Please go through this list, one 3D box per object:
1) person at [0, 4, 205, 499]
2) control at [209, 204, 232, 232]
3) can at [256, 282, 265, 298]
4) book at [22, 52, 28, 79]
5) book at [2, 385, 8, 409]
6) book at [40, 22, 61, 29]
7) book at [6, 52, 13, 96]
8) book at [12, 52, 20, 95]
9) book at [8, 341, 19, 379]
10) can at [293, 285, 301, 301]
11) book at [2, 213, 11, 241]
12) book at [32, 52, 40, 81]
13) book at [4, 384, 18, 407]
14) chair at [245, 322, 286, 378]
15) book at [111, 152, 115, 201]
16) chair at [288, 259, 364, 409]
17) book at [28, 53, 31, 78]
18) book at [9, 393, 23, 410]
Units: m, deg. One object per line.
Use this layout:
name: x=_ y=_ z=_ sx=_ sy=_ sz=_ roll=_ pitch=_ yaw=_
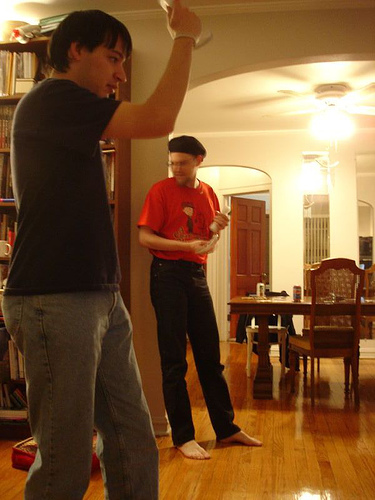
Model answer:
person: x=-0.164 y=0.002 z=0.819 sx=0.361 sy=1.112 sz=0.302 roll=3 pitch=-5 yaw=-35
control: x=0.184 y=-0.153 z=2.023 sx=0.115 sy=0.141 sz=0.038 roll=12 pitch=-3 yaw=39
can: x=0.711 y=0.389 z=4.013 sx=0.080 sy=0.154 sz=0.234 roll=0 pitch=-6 yaw=12
book: x=-0.961 y=-1.105 z=2.447 sx=0.029 sy=0.135 sz=0.038 roll=1 pitch=-4 yaw=-3
book: x=-1.090 y=0.875 z=2.450 sx=0.016 sy=0.088 sz=0.079 roll=-7 pitch=26 yaw=-7
book: x=-0.781 y=-1.284 z=2.338 sx=0.141 sy=0.022 sz=0.029 roll=-2 pitch=-6 yaw=23
book: x=-1.068 y=-1.058 z=2.463 sx=0.020 sy=0.227 sz=0.086 roll=3 pitch=-5 yaw=-32
book: x=-1.026 y=-1.055 z=2.453 sx=0.031 sy=0.184 sz=0.156 roll=3 pitch=3 yaw=-9
book: x=-1.014 y=0.639 z=2.386 sx=0.065 sy=0.220 sz=0.045 roll=-2 pitch=-5 yaw=30
can: x=1.000 y=0.392 z=3.760 sx=0.064 sy=0.140 sz=0.333 roll=-1 pitch=-6 yaw=15
book: x=-1.144 y=-0.141 z=2.596 sx=0.056 sy=0.218 sz=0.128 roll=-1 pitch=3 yaw=-20
book: x=-0.910 y=-1.105 z=2.464 sx=0.023 sy=0.132 sz=0.112 roll=6 pitch=6 yaw=-3
book: x=-1.059 y=0.873 z=2.452 sx=0.029 sy=0.111 sz=0.105 roll=-4 pitch=4 yaw=-3
chair: x=0.829 y=1.006 z=4.302 sx=0.437 sy=0.698 sz=0.509 roll=-1 pitch=-3 yaw=10
book: x=-0.432 y=-0.432 z=2.381 sx=0.025 sy=0.281 sz=0.074 roll=1 pitch=-4 yaw=-10
chair: x=1.196 y=0.647 z=3.484 sx=0.486 sy=1.334 sz=0.576 roll=-1 pitch=3 yaw=-7
book: x=-0.939 y=-1.103 z=2.445 sx=0.015 sy=0.131 sz=0.038 roll=1 pitch=-4 yaw=-13
book: x=-1.016 y=0.901 z=2.438 sx=0.016 sy=0.077 sz=0.063 roll=-19 pitch=17 yaw=-32
